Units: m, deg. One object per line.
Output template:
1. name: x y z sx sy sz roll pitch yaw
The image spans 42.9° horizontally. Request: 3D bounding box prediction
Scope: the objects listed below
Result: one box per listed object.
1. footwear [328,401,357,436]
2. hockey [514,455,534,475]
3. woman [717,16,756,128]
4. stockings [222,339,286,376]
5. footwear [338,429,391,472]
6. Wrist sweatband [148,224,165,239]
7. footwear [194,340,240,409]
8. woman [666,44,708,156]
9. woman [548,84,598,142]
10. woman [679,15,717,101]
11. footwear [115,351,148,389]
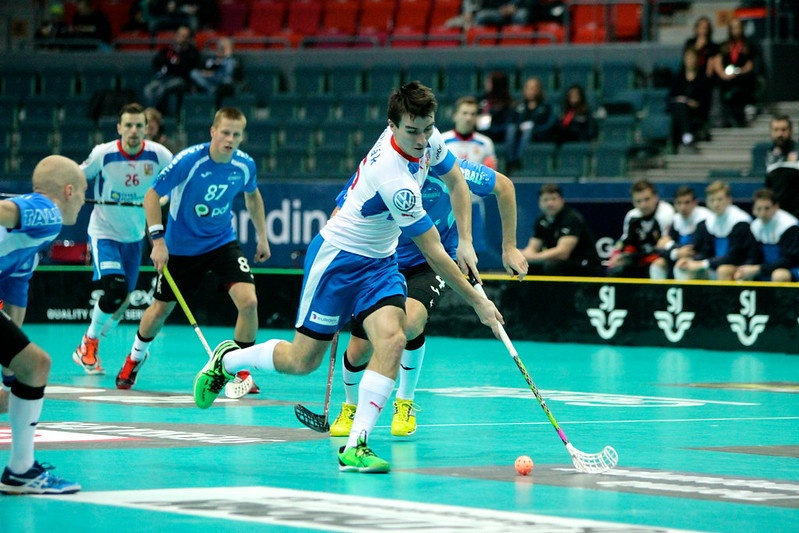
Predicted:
1. footwear: -0.391 1.103 7.346 0.149 0.182 0.423 14 11 10
2. hockey: 0.775 1.213 6.266 0.116 0.115 0.206 2 7 7
3. woman: 4.771 -2.721 14.395 0.566 1.474 0.370 3 8 13
4. stockings: -1.000 0.631 7.095 0.181 0.237 0.531 -26 9 -42
5. footwear: -0.227 1.178 6.295 0.396 0.193 0.143 -5 -6 44
6. Wrist sweatband: -2.064 -0.295 8.674 0.128 0.098 0.127 -4 4 -9
7. footwear: -1.376 0.846 7.778 0.232 0.517 0.193 26 -7 40
8. woman: 4.120 -2.346 14.316 0.563 1.410 0.456 2 8 10
9. woman: 2.502 -2.125 14.441 0.655 0.857 0.294 2 8 9
10. woman: 4.377 -2.904 14.516 0.507 1.227 0.490 -1 -2 -12
11. footwear: -2.355 0.903 9.085 0.145 0.397 0.168 26 -17 -13
